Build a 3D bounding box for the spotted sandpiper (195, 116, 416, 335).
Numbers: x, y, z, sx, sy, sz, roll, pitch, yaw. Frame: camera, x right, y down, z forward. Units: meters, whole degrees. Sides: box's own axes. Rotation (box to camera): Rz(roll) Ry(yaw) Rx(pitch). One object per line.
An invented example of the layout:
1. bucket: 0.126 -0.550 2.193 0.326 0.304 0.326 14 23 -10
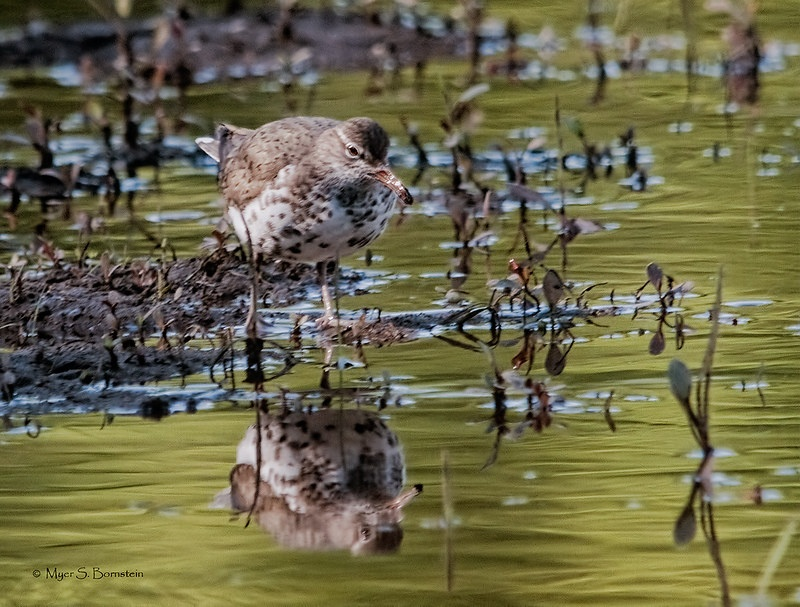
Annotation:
1. spotted sandpiper: -0.533 -0.656 6.698 1.031 0.878 0.868 -5 17 -6
